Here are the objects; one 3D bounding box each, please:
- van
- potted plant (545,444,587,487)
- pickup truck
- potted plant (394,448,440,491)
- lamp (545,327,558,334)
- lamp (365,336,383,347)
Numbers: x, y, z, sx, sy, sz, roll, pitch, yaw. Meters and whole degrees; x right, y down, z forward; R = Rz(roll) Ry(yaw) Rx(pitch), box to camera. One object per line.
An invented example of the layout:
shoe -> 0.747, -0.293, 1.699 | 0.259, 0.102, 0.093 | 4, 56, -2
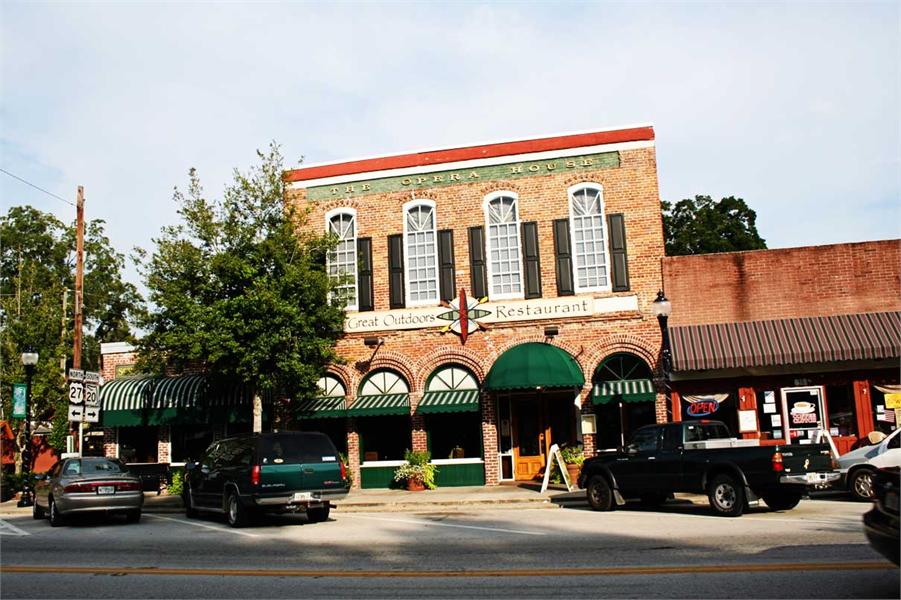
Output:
van -> -5.613, 5.218, 30.846 | 4.878, 2.397, 2.366 | -2, -1, 38
potted plant -> 4.128, 5.884, 37.437 | 1.444, 1.907, 1.360 | 1, 6, 32
pickup truck -> 7.525, 4.923, 30.636 | 5.929, 2.010, 3.278 | -4, -9, 36
potted plant -> -1.367, 6.298, 38.588 | 1.456, 1.386, 1.303 | 3, 1, -37
lamp -> 3.729, 1.150, 38.381 | 0.517, 0.296, 0.271 | 0, 4, 2
lamp -> -2.995, 1.588, 39.693 | 0.705, 0.342, 0.248 | 0, -7, 6
